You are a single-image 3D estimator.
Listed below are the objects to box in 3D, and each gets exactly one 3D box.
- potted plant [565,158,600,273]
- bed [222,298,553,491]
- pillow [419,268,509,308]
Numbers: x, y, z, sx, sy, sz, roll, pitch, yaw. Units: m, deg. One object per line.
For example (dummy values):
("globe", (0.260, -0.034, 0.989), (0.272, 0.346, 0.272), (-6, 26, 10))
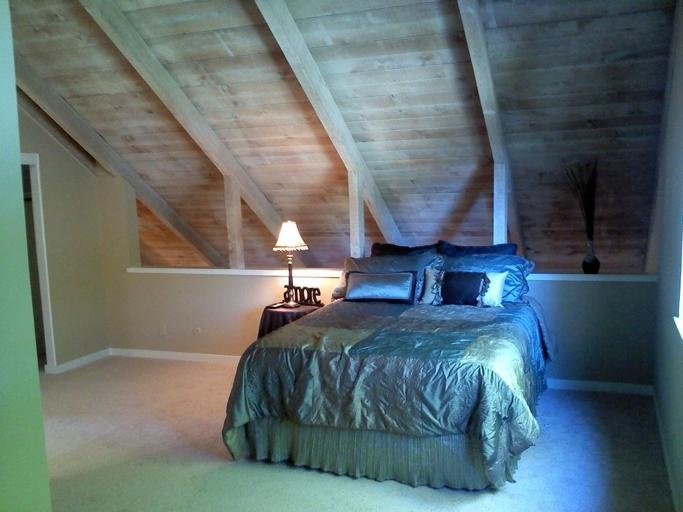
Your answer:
("potted plant", (2.111, -0.358, 4.431), (0.278, 0.953, 0.586), (2, 12, 23))
("bed", (0.310, 0.816, 3.108), (1.352, 0.498, 1.284), (-1, 2, 18))
("pillow", (0.969, 0.251, 3.989), (0.674, 0.308, 0.169), (0, -15, 32))
